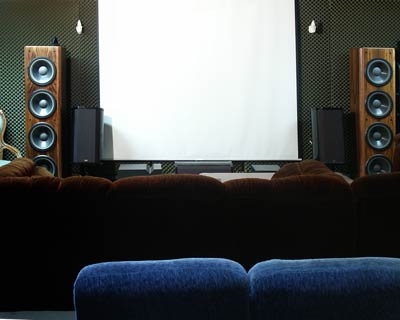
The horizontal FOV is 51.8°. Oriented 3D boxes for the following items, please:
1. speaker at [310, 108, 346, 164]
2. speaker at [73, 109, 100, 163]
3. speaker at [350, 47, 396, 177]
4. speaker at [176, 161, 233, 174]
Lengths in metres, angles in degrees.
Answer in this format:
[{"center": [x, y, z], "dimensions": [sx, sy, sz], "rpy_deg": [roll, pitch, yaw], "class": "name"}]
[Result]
[{"center": [1.419, -0.270, 4.566], "dimensions": [0.382, 0.590, 0.229], "rpy_deg": [4, 11, 15], "class": "speaker"}, {"center": [-1.238, -0.272, 4.501], "dimensions": [0.308, 0.584, 0.176], "rpy_deg": [-2, 11, -16], "class": "speaker"}, {"center": [1.886, -0.525, 4.538], "dimensions": [0.511, 1.364, 0.428], "rpy_deg": [4, 11, 19], "class": "speaker"}, {"center": [0.046, 0.080, 4.703], "dimensions": [0.442, 0.159, 0.181], "rpy_deg": [1, -14, -2], "class": "speaker"}]
